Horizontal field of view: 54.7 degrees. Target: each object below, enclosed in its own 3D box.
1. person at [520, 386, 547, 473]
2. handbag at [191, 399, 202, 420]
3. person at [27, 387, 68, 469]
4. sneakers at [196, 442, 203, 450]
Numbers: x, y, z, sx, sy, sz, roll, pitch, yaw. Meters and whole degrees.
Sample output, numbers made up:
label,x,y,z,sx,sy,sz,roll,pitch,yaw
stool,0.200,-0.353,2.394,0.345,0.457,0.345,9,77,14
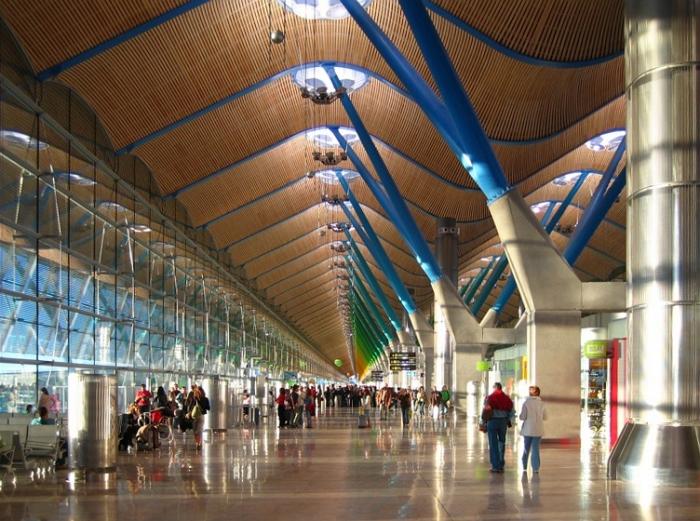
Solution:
label,x,y,z,sx,sy,sz,roll,pitch,yaw
person,3.529,3.266,13.094,0.494,1.627,1.709,-5,-15,14
handbag,-4.124,4.007,18.283,0.429,0.648,0.273,3,-10,-14
person,-7.070,3.912,15.764,0.604,1.935,0.664,-10,-29,0
sneakers,-4.116,5.065,18.531,0.143,0.172,0.282,1,8,-4
